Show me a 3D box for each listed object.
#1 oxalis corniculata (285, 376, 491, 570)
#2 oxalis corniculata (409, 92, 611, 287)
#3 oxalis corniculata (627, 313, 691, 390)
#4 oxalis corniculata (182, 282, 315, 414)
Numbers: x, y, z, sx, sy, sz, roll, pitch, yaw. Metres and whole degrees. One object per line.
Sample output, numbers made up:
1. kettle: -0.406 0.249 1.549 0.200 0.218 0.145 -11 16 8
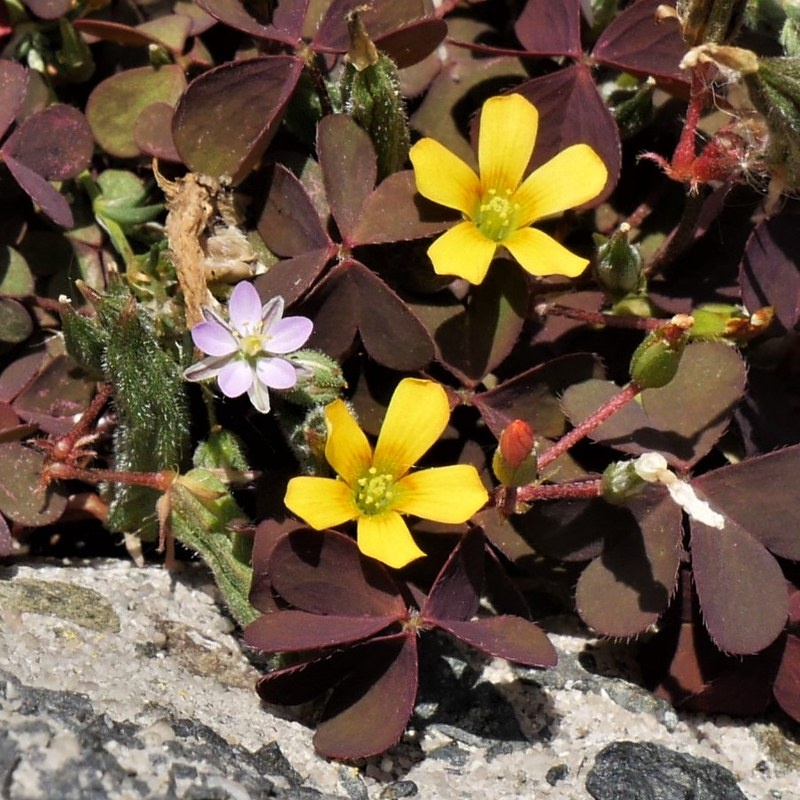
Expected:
1. oxalis corniculata: -0.002 0.145 2.035 0.376 0.297 0.299 23 35 5
2. oxalis corniculata: 0.222 -0.436 2.269 0.486 0.185 0.398 14 80 -21
3. oxalis corniculata: 0.543 -0.097 2.047 0.080 0.208 0.047 8 39 -18
4. oxalis corniculata: -0.313 -0.113 2.099 0.106 0.299 0.246 22 49 -75
